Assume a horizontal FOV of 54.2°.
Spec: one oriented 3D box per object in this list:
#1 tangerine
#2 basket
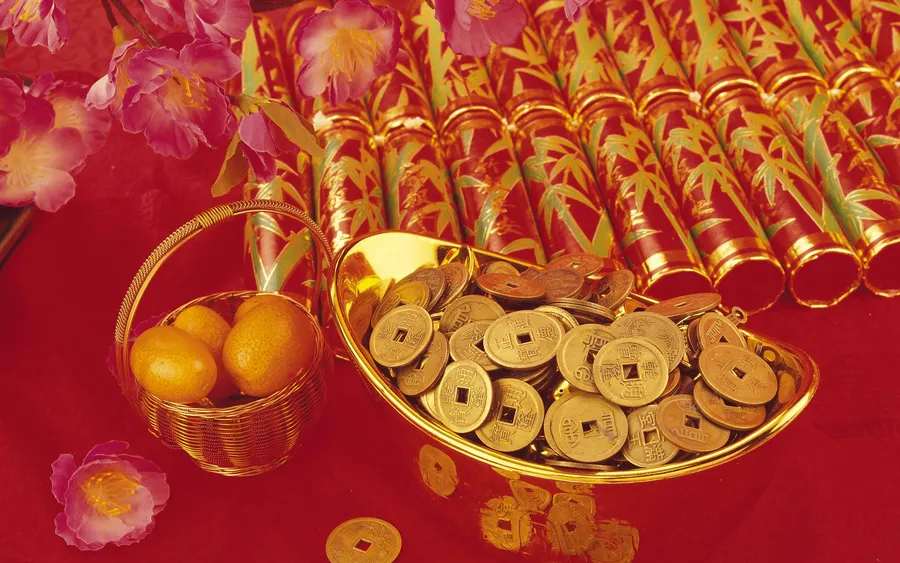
[{"bbox_3d":[-0.391,0.125,1.512,0.223,0.129,0.203,-11,16,13],"label":"tangerine"},{"bbox_3d":[-0.419,0.120,1.619,0.268,0.366,0.302,29,52,29],"label":"basket"}]
